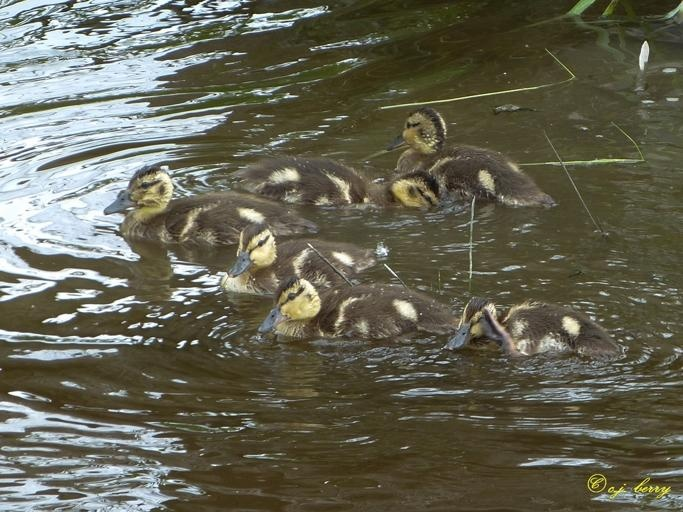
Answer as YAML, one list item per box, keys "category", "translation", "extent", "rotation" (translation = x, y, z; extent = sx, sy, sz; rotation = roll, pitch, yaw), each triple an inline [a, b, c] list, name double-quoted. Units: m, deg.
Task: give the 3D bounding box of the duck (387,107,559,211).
- category: "duck"
  translation: [1.298, -0.871, 7.621]
  extent: [0.906, 0.805, 1.763]
  rotation: [-30, 32, -29]

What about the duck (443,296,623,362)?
- category: "duck"
  translation: [1.221, 0.432, 5.071]
  extent: [0.987, 0.265, 0.426]
  rotation: [2, 49, 18]

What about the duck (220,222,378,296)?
- category: "duck"
  translation: [-0.365, 0.004, 6.395]
  extent: [1.444, 0.448, 0.601]
  rotation: [-6, 31, -45]

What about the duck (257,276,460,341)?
- category: "duck"
  translation: [0.167, 0.335, 5.453]
  extent: [1.213, 0.317, 0.539]
  rotation: [1, 48, 17]
